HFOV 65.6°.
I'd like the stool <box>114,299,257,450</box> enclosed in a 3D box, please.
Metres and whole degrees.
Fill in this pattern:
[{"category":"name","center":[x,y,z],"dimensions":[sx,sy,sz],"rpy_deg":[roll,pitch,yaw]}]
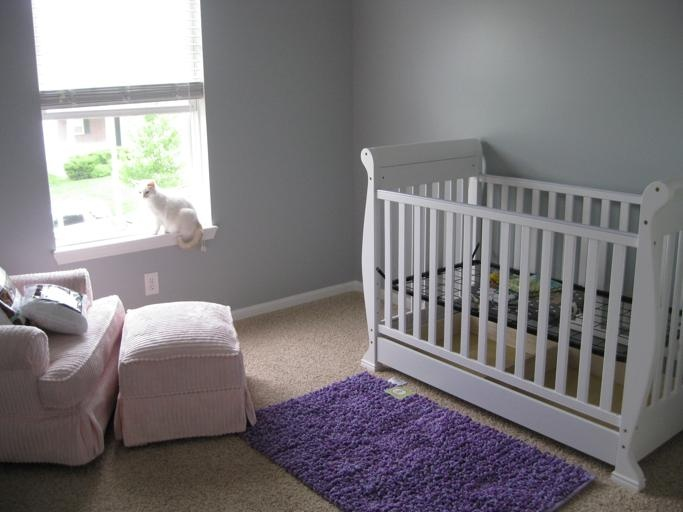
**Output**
[{"category":"stool","center":[-0.697,0.491,2.334],"dimensions":[0.531,0.419,0.551],"rpy_deg":[-10,18,-31]}]

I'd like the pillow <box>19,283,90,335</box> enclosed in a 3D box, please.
[{"category":"pillow","center":[-1.239,0.225,2.285],"dimensions":[0.233,0.125,0.233],"rpy_deg":[25,13,17]}]
